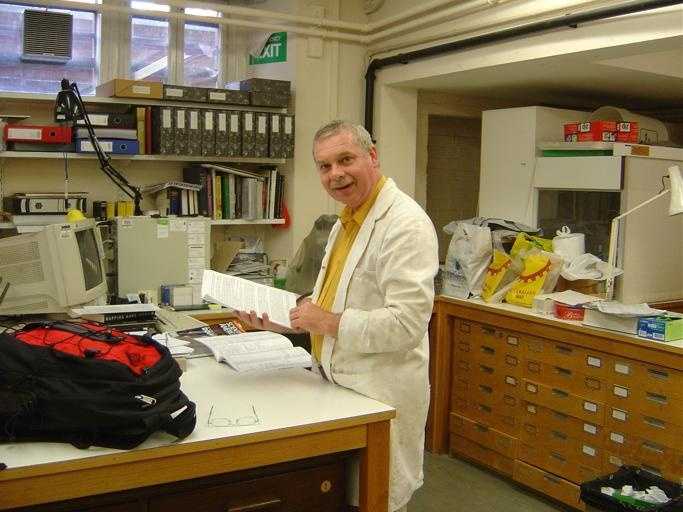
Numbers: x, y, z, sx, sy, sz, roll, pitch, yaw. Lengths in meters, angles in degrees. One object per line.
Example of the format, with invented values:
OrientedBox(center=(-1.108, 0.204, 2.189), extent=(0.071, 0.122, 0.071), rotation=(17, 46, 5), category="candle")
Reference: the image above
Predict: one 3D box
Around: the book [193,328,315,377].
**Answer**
OrientedBox(center=(-0.402, 0.395, 2.365), extent=(0.408, 0.069, 0.675), rotation=(8, 2, -17), category="book")

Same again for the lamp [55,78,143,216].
OrientedBox(center=(-1.691, -0.754, 3.692), extent=(0.536, 0.904, 0.686), rotation=(-1, 11, -13), category="lamp")

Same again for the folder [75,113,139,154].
OrientedBox(center=(-1.668, -0.852, 3.738), extent=(0.373, 0.199, 0.348), rotation=(-2, 3, -23), category="folder")

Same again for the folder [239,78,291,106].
OrientedBox(center=(-0.614, -1.281, 4.223), extent=(0.306, 0.161, 0.295), rotation=(-3, 6, -35), category="folder")
